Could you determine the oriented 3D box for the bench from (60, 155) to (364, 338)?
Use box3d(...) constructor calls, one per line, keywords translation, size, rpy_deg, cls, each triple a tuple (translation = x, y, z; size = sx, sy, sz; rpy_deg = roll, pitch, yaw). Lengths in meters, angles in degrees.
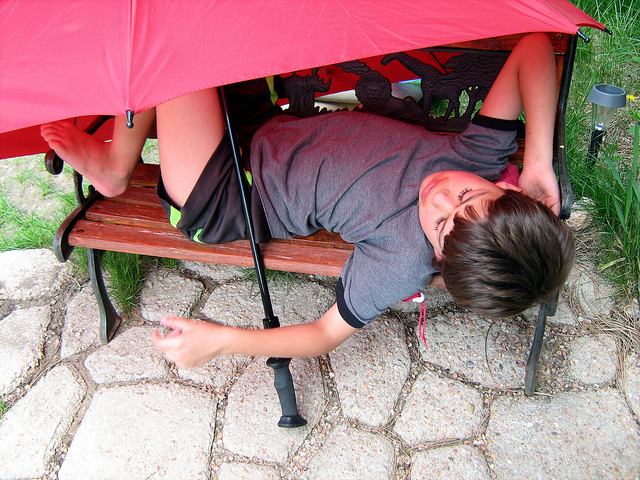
box3d(translation=(-0.411, 0.175, 2.546), size=(1.506, 1.034, 0.705), rpy_deg=(4, 59, 3), cls="bench")
